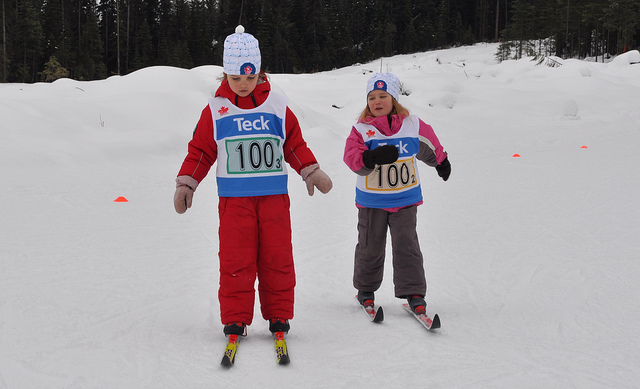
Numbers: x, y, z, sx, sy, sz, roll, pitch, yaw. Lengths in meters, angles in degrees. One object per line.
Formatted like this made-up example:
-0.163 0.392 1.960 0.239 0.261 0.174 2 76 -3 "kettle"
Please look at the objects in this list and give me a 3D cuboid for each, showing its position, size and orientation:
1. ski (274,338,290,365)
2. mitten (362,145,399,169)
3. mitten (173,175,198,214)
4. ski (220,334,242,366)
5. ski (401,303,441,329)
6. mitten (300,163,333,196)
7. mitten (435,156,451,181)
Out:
-0.469 1.965 7.794 0.123 0.085 0.292 -7 45 -5 "ski"
0.793 -0.492 8.186 0.460 0.324 0.127 5 16 19 "mitten"
-1.736 0.003 8.103 0.314 0.525 0.242 -5 16 -13 "mitten"
-1.111 1.963 7.839 0.120 0.152 0.426 7 51 2 "ski"
1.349 1.623 8.425 0.143 0.134 0.965 -3 10 -16 "ski"
-0.057 -0.191 8.276 0.297 0.484 0.194 -33 4 -8 "mitten"
1.769 -0.357 8.819 0.166 0.323 0.270 11 19 37 "mitten"
